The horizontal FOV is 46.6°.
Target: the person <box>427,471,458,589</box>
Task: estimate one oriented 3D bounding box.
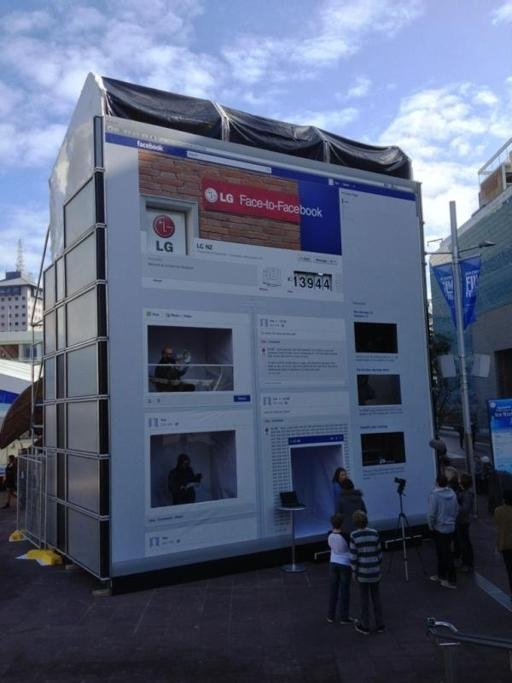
[{"bbox_3d":[2.423,2.443,7.716,0.379,1.376,0.455,-3,-7,15],"label":"person"}]

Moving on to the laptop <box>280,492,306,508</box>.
[{"bbox_3d":[0.510,2.328,8.758,0.326,0.208,0.630,-1,-7,-2],"label":"laptop"}]

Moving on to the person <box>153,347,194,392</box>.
[{"bbox_3d":[-1.204,0.421,8.759,0.543,0.657,0.788,-2,-7,2],"label":"person"}]

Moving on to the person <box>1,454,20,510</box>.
[{"bbox_3d":[-6.428,3.677,15.538,0.297,1.364,1.147,2,-7,-23],"label":"person"}]

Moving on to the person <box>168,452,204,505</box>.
[{"bbox_3d":[-1.045,1.986,8.678,0.489,0.645,0.980,-1,-7,-7],"label":"person"}]

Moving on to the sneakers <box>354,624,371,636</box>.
[{"bbox_3d":[1.054,2.882,5.939,0.055,0.062,0.149,2,-6,-21],"label":"sneakers"}]

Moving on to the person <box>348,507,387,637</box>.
[{"bbox_3d":[1.168,2.379,6.270,0.295,1.255,1.025,-3,-7,11],"label":"person"}]

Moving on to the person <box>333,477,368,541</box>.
[{"bbox_3d":[1.254,2.292,7.745,0.369,1.094,0.381,-2,16,16],"label":"person"}]

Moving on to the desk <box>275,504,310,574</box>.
[{"bbox_3d":[0.533,2.918,8.765,0.544,0.866,0.562,-3,-10,9],"label":"desk"}]
